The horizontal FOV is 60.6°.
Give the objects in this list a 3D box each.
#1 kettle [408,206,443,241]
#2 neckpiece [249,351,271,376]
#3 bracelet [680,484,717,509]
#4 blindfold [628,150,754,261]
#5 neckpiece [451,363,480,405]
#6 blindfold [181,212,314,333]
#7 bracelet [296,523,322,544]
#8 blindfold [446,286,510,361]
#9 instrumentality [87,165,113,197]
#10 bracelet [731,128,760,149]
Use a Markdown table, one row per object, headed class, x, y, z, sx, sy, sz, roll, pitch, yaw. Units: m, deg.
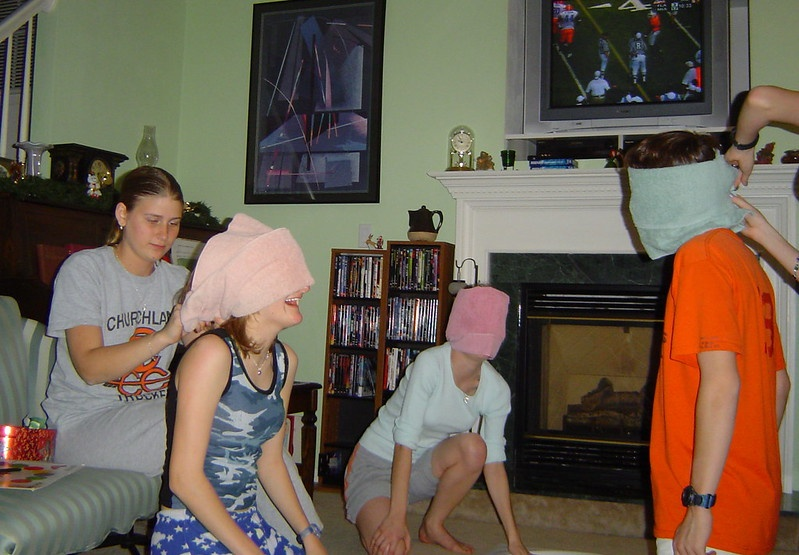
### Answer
| class | x | y | z | sx | sy | sz | roll | pitch | yaw |
| --- | --- | --- | --- | --- | --- | --- | --- | --- | --- |
| kettle | 0.179 | -0.364 | 4.655 | 0.223 | 0.242 | 0.335 | 0 | 4 | 9 |
| neckpiece | -0.442 | 0.285 | 2.215 | 0.039 | 0.066 | 0.015 | 28 | -15 | -15 |
| bracelet | 0.873 | 0.644 | 1.985 | 0.094 | 0.072 | 0.070 | 1 | 4 | 12 |
| blindfold | 0.896 | -0.214 | 2.204 | 0.330 | 0.295 | 0.287 | -3 | 1 | -4 |
| neckpiece | 0.302 | 0.462 | 3.098 | 0.107 | 0.195 | 0.141 | 7 | 9 | 3 |
| blindfold | -0.500 | -0.016 | 2.230 | 0.284 | 0.344 | 0.383 | 3 | 6 | -24 |
| bracelet | -0.313 | 0.882 | 2.342 | 0.069 | 0.042 | 0.097 | -12 | 5 | 11 |
| blindfold | 0.379 | 0.202 | 2.995 | 0.240 | 0.325 | 0.318 | 6 | 2 | -29 |
| instrumentality | -1.925 | -0.622 | 4.370 | 0.043 | 0.193 | 0.197 | -5 | 8 | 19 |
| bracelet | 1.236 | -0.489 | 2.438 | 0.076 | 0.030 | 0.079 | 20 | -35 | -12 |
